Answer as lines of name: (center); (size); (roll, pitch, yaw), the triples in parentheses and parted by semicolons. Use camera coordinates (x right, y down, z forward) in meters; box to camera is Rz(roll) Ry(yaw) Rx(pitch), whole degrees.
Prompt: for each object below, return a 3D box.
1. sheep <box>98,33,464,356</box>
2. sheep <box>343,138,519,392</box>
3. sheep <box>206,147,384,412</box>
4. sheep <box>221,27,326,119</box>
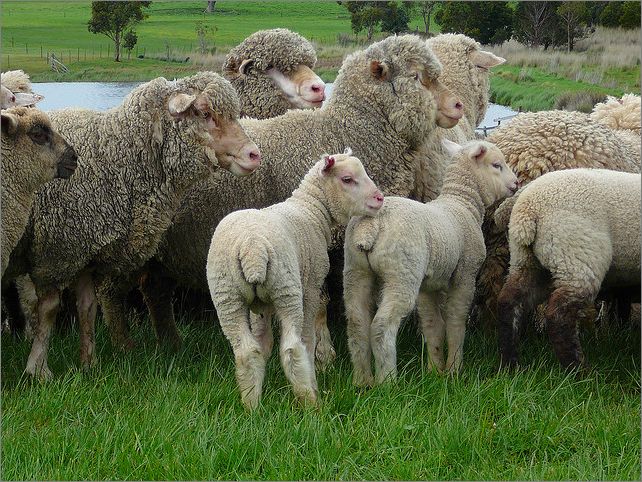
sheep: (-0.435, -0.166, 5.494); (3.271, 2.624, 1.130); (-8, -6, -4)
sheep: (0.817, 0.107, 4.881); (1.747, 1.739, 0.633); (-1, 4, -44)
sheep: (-0.115, 0.220, 4.576); (0.579, 1.561, 1.697); (-11, 1, 24)
sheep: (-0.430, -1.529, 6.022); (0.932, 0.872, 0.880); (19, 31, 33)
